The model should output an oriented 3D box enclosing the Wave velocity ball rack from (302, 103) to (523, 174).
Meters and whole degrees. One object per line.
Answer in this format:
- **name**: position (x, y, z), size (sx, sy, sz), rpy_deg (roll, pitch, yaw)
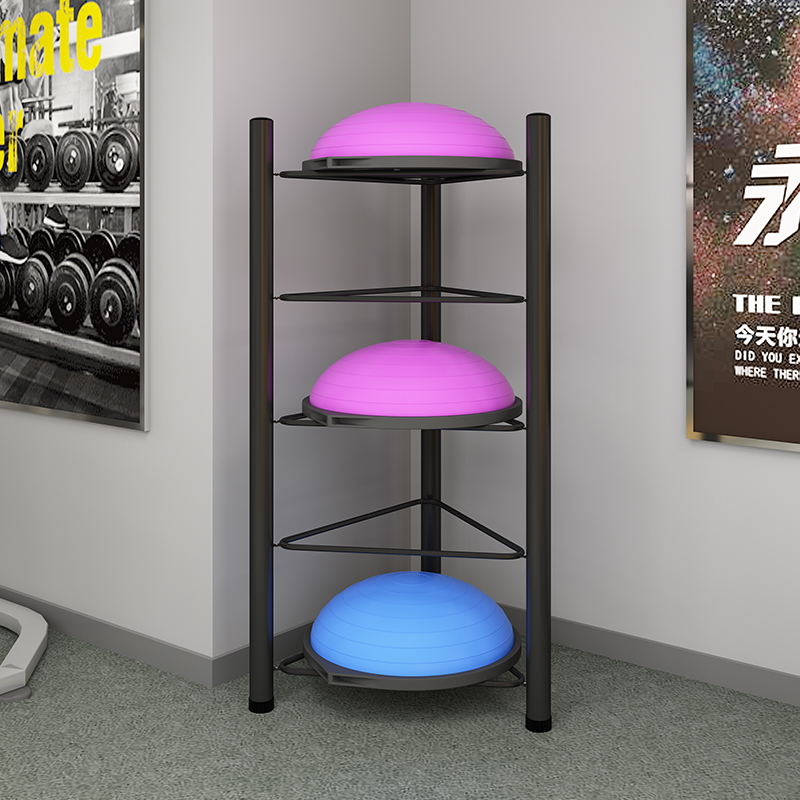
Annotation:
- **Wave velocity ball rack**: position (0.022, -0.704, 2.026), size (0.646, 0.180, 0.612), rpy_deg (-1, 14, 0)
